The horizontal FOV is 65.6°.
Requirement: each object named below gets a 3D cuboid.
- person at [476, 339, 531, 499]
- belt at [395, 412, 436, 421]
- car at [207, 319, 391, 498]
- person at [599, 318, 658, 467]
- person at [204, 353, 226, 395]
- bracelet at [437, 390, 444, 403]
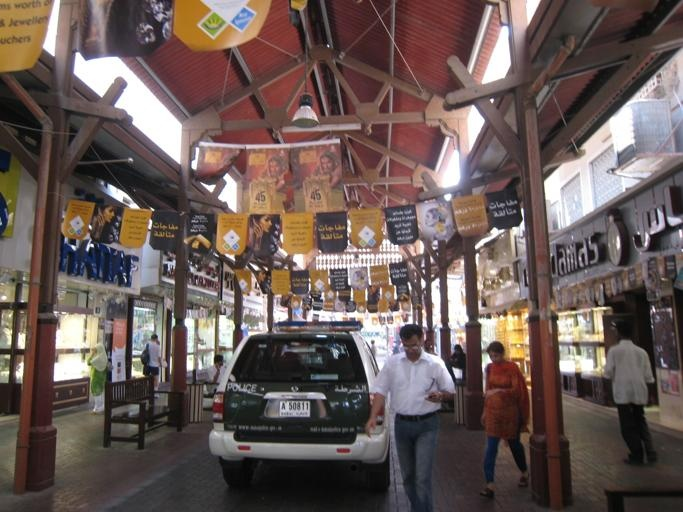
[{"bbox_3d":[2.383,2.369,7.872,0.961,2.160,0.441,2,-6,-24],"label":"person"},{"bbox_3d":[0.899,1.956,6.441,0.428,0.111,0.092,-1,-6,9],"label":"belt"},{"bbox_3d":[-0.554,1.992,8.002,1.559,1.658,3.111,0,-6,6],"label":"car"},{"bbox_3d":[5.061,2.342,9.316,0.801,2.390,0.698,5,-7,-40],"label":"person"},{"bbox_3d":[-3.275,3.085,13.774,0.431,0.933,0.311,16,8,-20],"label":"person"},{"bbox_3d":[1.200,1.698,6.378,0.082,0.124,0.284,-1,-6,13],"label":"bracelet"}]
